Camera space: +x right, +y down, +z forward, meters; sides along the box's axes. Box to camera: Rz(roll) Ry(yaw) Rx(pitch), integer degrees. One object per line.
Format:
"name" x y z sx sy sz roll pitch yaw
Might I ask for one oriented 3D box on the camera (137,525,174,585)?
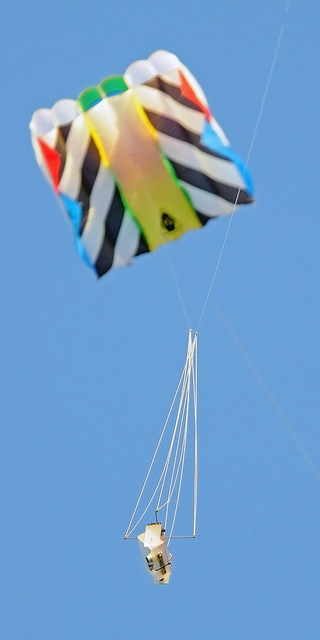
"camera" -0.018 1.255 5.264 0.142 0.128 0.252 -19 -70 12

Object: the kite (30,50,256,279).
"kite" -0.111 -1.000 6.251 1.218 0.585 1.247 -23 -71 12
